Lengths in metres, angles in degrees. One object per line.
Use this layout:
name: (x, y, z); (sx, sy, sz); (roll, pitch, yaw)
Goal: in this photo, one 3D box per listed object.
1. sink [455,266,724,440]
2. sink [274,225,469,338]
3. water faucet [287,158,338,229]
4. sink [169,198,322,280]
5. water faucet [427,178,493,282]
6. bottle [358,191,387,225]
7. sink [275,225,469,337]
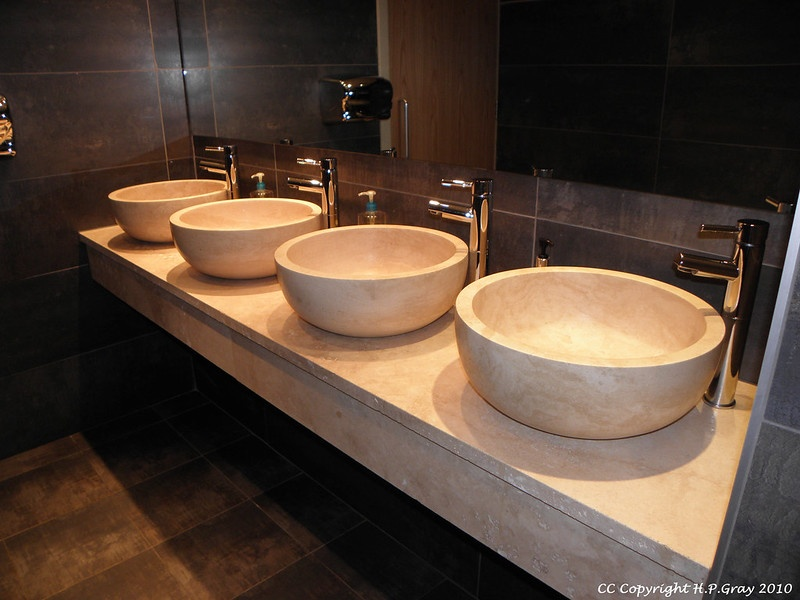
sink: (0.364, 0.100, 1.191); (0.489, 0.202, 0.476); (21, 31, 37)
sink: (-0.042, -0.049, 1.573); (0.440, 0.165, 0.445); (-18, 25, -34)
water faucet: (-0.301, -0.356, 2.003); (0.182, 0.290, 0.059); (3, 28, 7)
sink: (-0.539, -0.199, 1.910); (0.385, 0.160, 0.388); (-9, 21, -26)
water faucet: (0.166, -0.187, 1.642); (0.172, 0.351, 0.055); (3, 41, 6)
bottle: (-0.090, -0.316, 1.921); (0.092, 0.122, 0.158); (0, 24, -2)
sink: (-0.066, -0.050, 1.594); (0.504, 0.189, 0.516); (5, 22, 11)
